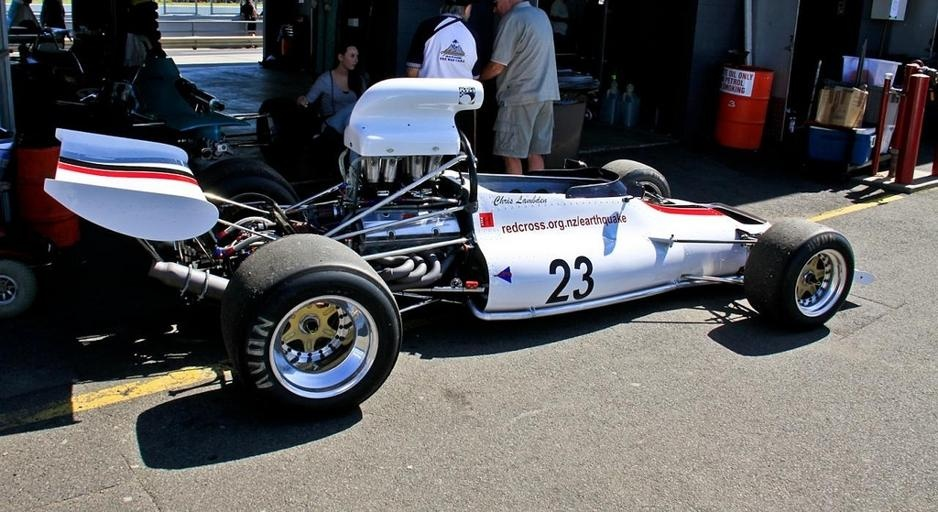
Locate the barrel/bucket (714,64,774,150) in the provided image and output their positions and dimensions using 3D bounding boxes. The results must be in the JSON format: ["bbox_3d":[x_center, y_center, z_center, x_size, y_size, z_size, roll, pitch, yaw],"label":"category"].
[{"bbox_3d":[5.025,-2.728,11.882,0.958,1.524,1.070,-6,21,-23],"label":"barrel/bucket"}]

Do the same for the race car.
[{"bbox_3d":[0.262,0.106,6.516,7.114,2.156,3.456,-6,16,-18],"label":"race car"}]
